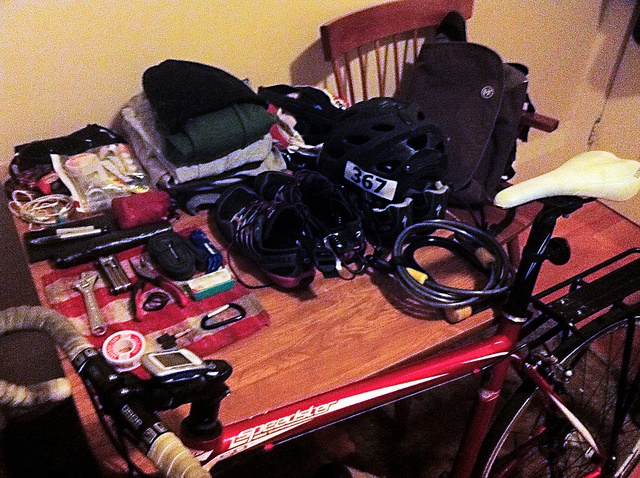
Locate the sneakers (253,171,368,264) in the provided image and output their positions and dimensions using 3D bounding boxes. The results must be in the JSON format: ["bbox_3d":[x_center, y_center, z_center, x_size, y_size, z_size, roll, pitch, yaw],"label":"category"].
[{"bbox_3d":[-0.003,-0.084,1.362,0.158,0.395,0.163,-41,-16,-17],"label":"sneakers"}]

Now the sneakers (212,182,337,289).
[{"bbox_3d":[-0.107,0.001,1.263,0.168,0.128,0.405,-25,36,-31],"label":"sneakers"}]

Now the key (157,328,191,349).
[{"bbox_3d":[-0.326,0.218,1.097,0.056,0.007,0.028,-17,43,-44],"label":"key"}]
